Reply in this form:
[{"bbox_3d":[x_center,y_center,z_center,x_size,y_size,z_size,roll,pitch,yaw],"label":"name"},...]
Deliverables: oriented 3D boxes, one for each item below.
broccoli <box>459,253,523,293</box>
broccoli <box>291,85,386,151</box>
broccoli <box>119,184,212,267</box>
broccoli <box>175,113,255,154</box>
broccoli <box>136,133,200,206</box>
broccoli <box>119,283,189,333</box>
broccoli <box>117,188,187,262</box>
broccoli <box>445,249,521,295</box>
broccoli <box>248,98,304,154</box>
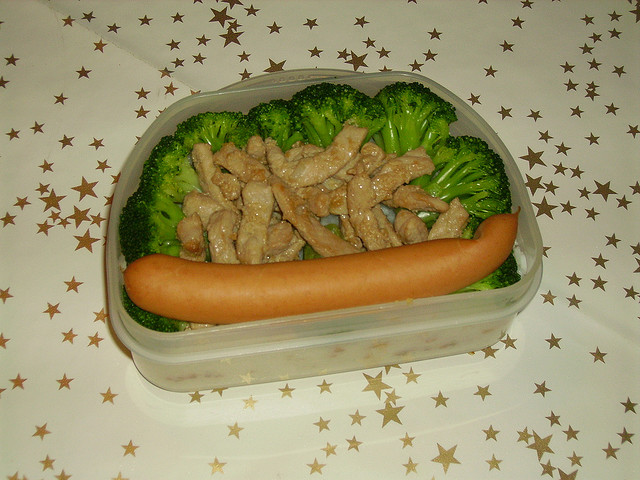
[{"bbox_3d":[0.804,0.132,2.641,0.321,0.082,0.224,0,23,-4],"label":"broccoli"},{"bbox_3d":[0.094,-0.637,2.746,0.415,0.444,0.321,9,33,7],"label":"broccoli"},{"bbox_3d":[-0.713,-0.045,2.586,0.382,0.371,0.179,24,-6,-13],"label":"broccoli"},{"bbox_3d":[-0.512,-0.551,2.747,0.350,0.145,0.283,-2,2,-23],"label":"broccoli"},{"bbox_3d":[-0.716,-0.330,2.651,0.306,0.332,0.116,7,2,-43],"label":"broccoli"},{"bbox_3d":[-0.732,0.350,2.511,0.365,0.129,0.186,27,-21,-5],"label":"broccoli"},{"bbox_3d":[-0.780,-0.079,2.567,0.170,0.336,0.325,-14,17,11],"label":"broccoli"},{"bbox_3d":[0.784,0.154,2.547,0.228,0.242,0.073,-9,-33,11],"label":"broccoli"},{"bbox_3d":[-0.211,-0.560,2.808,0.257,0.282,0.226,-7,-16,-42],"label":"broccoli"}]
